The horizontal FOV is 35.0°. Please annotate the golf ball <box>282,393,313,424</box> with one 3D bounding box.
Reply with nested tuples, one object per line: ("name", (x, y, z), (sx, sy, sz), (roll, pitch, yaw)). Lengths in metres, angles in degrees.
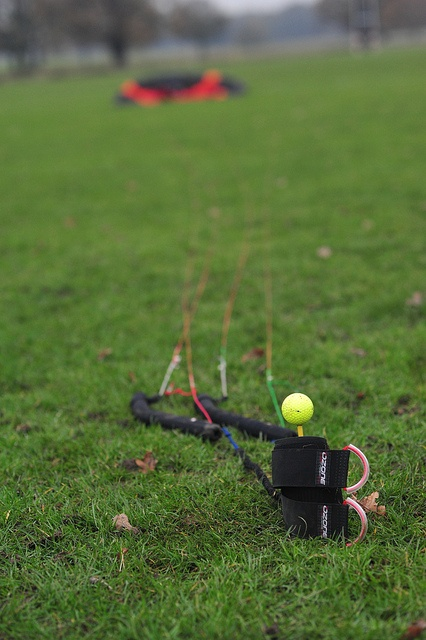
("golf ball", (0.438, 0.464, 3.592), (0.174, 0.162, 0.166), (1, 0, 0))
